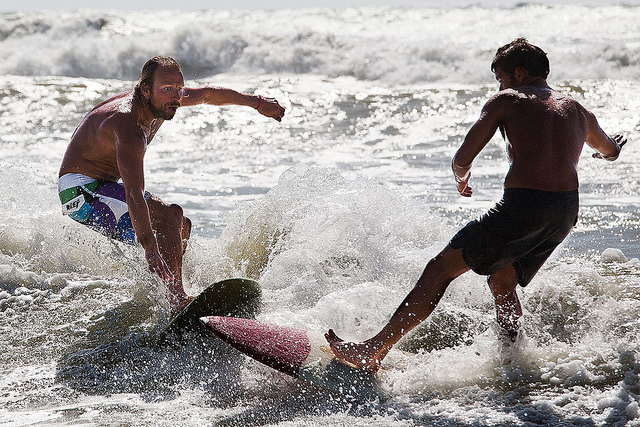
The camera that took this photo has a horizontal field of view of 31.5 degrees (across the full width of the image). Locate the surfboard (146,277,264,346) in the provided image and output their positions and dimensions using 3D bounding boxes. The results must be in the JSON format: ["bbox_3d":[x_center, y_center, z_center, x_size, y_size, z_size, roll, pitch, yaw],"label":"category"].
[{"bbox_3d":[-1.212,1.065,13.603,1.852,0.511,0.278,-28,12,-36],"label":"surfboard"}]

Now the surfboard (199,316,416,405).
[{"bbox_3d":[-0.434,1.493,13.193,2.896,0.643,0.212,11,-7,42],"label":"surfboard"}]
